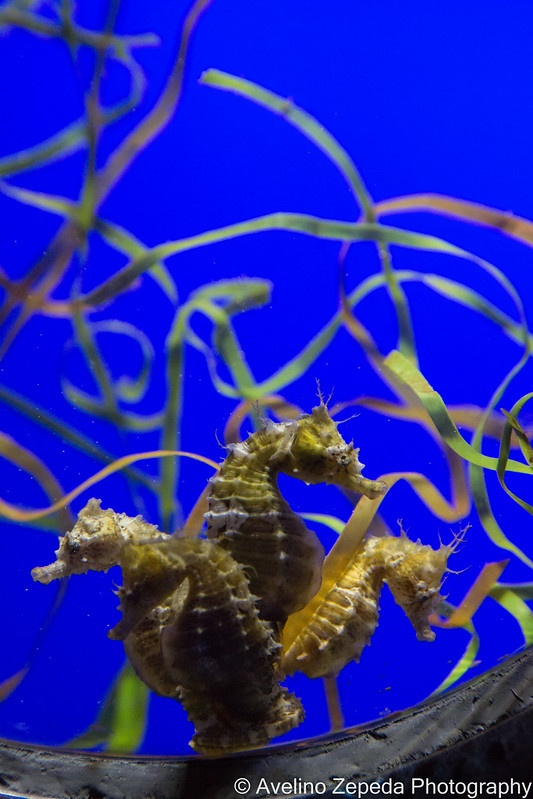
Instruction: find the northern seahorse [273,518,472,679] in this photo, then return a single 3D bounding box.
[{"bbox_3d":[0.319,0.503,2.533,0.626,0.214,0.238,-20,82,5],"label":"northern seahorse"}]
